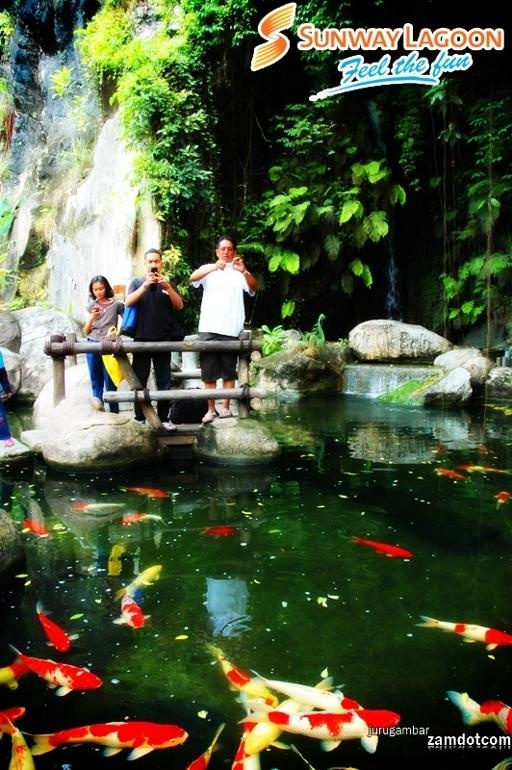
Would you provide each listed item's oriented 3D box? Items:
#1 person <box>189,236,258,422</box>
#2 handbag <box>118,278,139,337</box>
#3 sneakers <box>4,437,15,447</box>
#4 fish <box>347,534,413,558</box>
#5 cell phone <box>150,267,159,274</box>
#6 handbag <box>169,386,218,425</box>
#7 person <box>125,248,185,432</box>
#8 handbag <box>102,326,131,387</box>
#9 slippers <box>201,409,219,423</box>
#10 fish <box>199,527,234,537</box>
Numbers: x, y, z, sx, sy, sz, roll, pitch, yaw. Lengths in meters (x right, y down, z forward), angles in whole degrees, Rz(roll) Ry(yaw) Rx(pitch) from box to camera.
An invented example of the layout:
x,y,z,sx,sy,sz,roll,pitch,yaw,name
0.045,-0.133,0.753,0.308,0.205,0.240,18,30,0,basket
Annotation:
x,y,z,sx,sy,sz,roll,pitch,yaw,name
-0.264,-0.442,5.444,0.534,1.580,0.656,-1,7,-5,person
-1.061,-0.547,5.365,0.124,0.272,0.250,-3,7,-26,handbag
-2.127,0.479,5.529,0.068,0.083,0.192,-3,-1,-24,sneakers
0.659,0.851,3.391,0.383,0.018,0.162,6,9,42,fish
-0.789,-0.905,5.008,0.048,0.092,0.053,1,1,5,cell phone
-0.616,0.125,6.216,0.434,0.405,0.235,-3,4,-3,handbag
-0.863,-0.364,5.510,0.453,1.547,1.029,-1,7,-8,person
-1.191,-0.237,5.553,0.338,0.458,0.192,3,16,22,handbag
-0.400,0.274,5.680,0.065,0.119,0.184,-6,-3,38,slippers
-0.225,0.835,3.680,0.197,0.062,0.099,-3,10,6,fish
